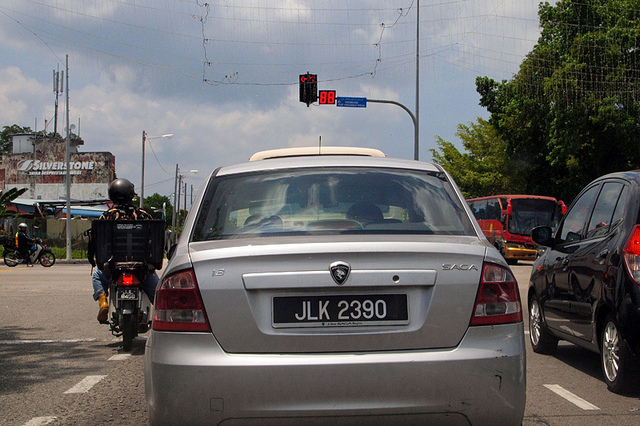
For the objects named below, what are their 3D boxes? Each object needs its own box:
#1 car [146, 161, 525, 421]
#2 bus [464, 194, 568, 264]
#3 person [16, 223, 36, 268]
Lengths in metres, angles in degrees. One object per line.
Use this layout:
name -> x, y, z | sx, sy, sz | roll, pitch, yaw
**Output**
car -> 0.041, 0.477, 5.004 | 2.590, 1.818, 1.657 | 0, 1, -10
bus -> 8.757, 0.807, 31.284 | 2.677, 3.243, 7.886 | 4, -3, -3
person -> -11.484, 1.241, 25.754 | 0.693, 1.663, 1.246 | 0, 1, -26
